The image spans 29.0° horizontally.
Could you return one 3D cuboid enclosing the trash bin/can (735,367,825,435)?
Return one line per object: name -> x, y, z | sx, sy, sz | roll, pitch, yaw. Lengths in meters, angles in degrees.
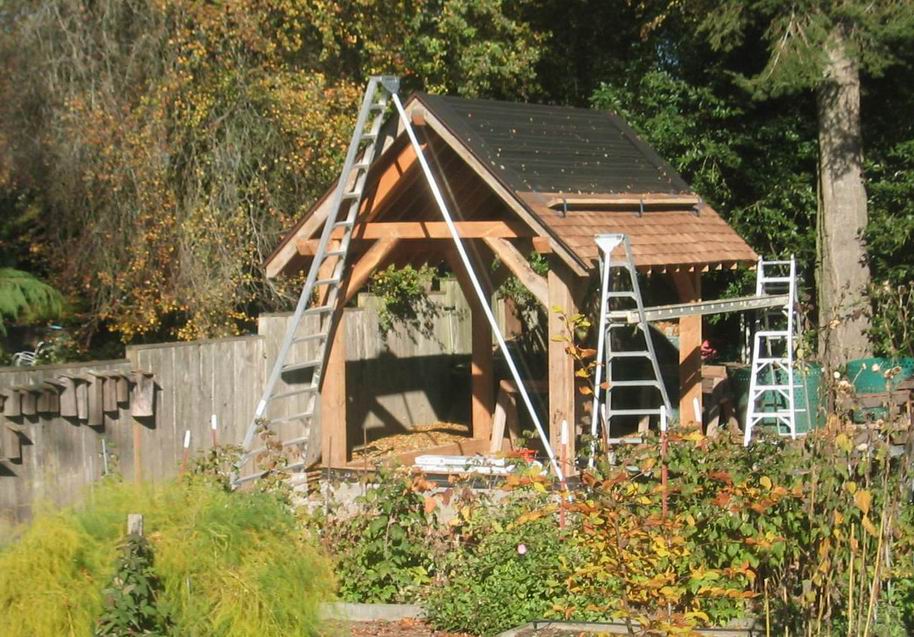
trash bin/can -> 5.504, 1.334, 29.682 | 0.888, 1.355, 1.262 | 7, -11, -8
